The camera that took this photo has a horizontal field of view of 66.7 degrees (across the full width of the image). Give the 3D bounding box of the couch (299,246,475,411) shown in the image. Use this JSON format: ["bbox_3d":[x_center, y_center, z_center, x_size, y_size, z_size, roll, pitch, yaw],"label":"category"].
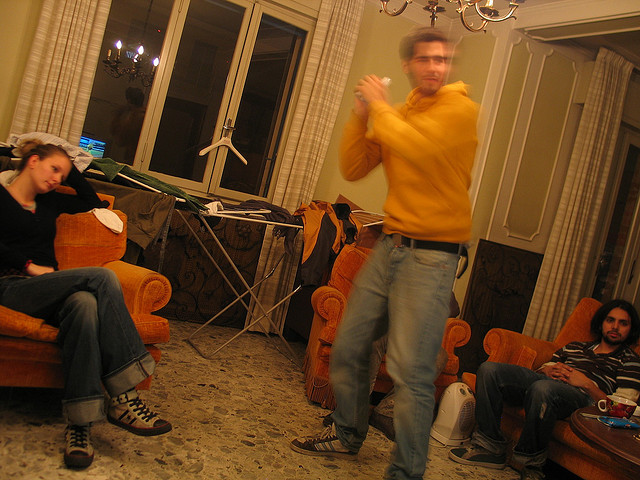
[{"bbox_3d":[0.345,0.506,2.729,0.917,0.932,0.715,11,-10,-5],"label":"couch"}]

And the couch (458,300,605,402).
[{"bbox_3d":[1.460,0.650,3.736,0.762,0.840,0.670,30,-6,-7],"label":"couch"}]

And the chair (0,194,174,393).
[{"bbox_3d":[-1.248,0.235,2.867,0.985,0.971,0.980,9,-3,-35],"label":"chair"}]

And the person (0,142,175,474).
[{"bbox_3d":[-1.249,0.241,2.501,1.085,1.346,0.613,16,7,35],"label":"person"}]

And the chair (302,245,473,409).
[{"bbox_3d":[0.601,0.675,3.729,1.209,1.406,1.099,12,-7,-5],"label":"chair"}]

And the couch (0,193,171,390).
[{"bbox_3d":[-1.254,0.226,2.876,0.991,0.973,0.970,10,-6,-33],"label":"couch"}]

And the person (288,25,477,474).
[{"bbox_3d":[0.348,0.133,2.405,0.730,1.822,0.699,12,6,0],"label":"person"}]

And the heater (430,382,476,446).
[{"bbox_3d":[0.913,1.172,3.262,0.253,0.378,0.239,14,6,22],"label":"heater"}]

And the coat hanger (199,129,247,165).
[{"bbox_3d":[-0.947,-0.888,4.636,0.324,0.213,0.024,16,-5,-29],"label":"coat hanger"}]

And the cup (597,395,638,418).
[{"bbox_3d":[1.587,0.874,2.581,0.151,0.076,0.122,-7,-10,19],"label":"cup"}]
